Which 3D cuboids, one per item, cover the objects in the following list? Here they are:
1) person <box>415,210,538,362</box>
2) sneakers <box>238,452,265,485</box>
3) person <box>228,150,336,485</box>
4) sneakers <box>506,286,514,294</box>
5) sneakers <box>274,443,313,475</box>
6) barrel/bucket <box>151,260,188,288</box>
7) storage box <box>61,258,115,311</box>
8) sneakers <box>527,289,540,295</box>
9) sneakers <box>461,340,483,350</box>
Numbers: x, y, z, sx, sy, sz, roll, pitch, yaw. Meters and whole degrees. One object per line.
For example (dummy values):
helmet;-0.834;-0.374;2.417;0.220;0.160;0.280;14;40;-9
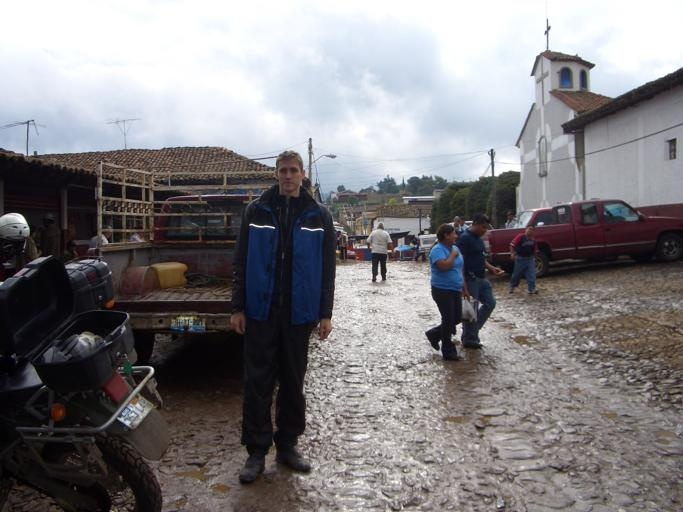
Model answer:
person;1.665;0.405;6.830;1.143;1.867;0.484;-9;10;-43
sneakers;-0.674;1.637;3.828;0.123;0.201;0.276;3;9;35
person;-0.442;0.451;3.888;0.831;2.540;0.518;-3;7;-10
sneakers;3.865;0.789;11.196;0.119;0.175;0.121;-4;11;-26
sneakers;-0.378;1.634;3.937;0.375;0.273;0.132;4;3;0
barrel/bucket;-2.305;0.267;6.612;0.306;0.307;0.440;-1;4;19
storage box;-1.865;0.233;3.750;0.307;0.422;0.414;-1;15;7
sneakers;4.146;0.782;10.582;0.221;0.161;0.105;-2;11;3
sneakers;1.859;1.285;6.984;0.291;0.215;0.099;-2;5;8
